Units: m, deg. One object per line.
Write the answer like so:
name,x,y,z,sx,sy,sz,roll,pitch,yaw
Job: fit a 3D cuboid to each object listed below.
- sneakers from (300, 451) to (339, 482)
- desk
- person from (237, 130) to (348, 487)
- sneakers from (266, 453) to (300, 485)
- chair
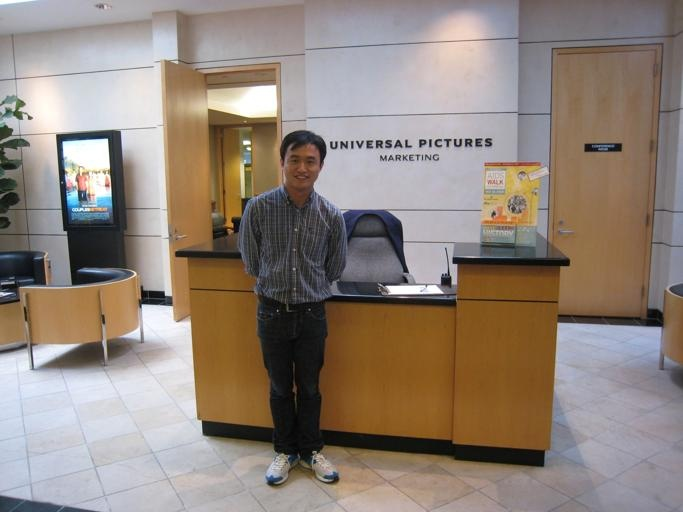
sneakers,-0.150,1.512,3.966,0.296,0.135,0.145,3,2,40
desk,0.775,0.377,4.934,1.973,1.229,2.047,1,8,11
person,-0.318,0.573,3.869,0.746,2.065,0.398,-2,9,-12
sneakers,-0.426,1.502,3.958,0.125,0.153,0.346,-3,10,28
chair,0.245,-0.076,5.159,0.526,0.841,0.702,-2,-3,-2
